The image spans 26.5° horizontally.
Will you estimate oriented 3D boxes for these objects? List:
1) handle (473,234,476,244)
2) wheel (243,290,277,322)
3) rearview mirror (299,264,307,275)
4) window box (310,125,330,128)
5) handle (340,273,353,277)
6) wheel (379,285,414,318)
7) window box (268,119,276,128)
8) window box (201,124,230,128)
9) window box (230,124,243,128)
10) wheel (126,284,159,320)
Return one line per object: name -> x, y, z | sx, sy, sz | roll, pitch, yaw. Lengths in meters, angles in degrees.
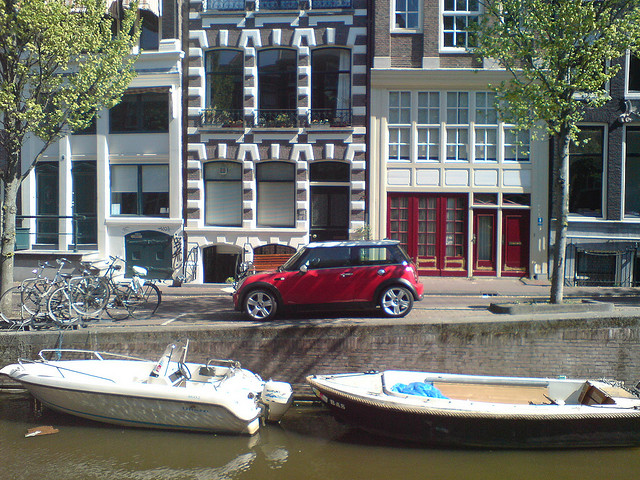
handle -> 4.902, 0.016, 43.554 | 0.093, 0.299, 0.033 | 5, -3, -33
wheel -> -1.574, 1.790, 37.003 | 0.977, 0.934, 0.364 | 4, 8, 26
rearview mirror -> -0.450, 0.843, 36.790 | 0.209, 0.214, 0.154 | 7, 7, -4
window box -> -0.005, -3.574, 43.496 | 0.562, 0.107, 0.153 | 2, -3, 8
handle -> 0.719, 0.978, 36.830 | 0.282, 0.113, 0.051 | 3, -2, -11
wheel -> 2.130, 1.705, 36.947 | 0.970, 0.939, 0.411 | -1, 4, 25
window box -> -1.573, -3.670, 43.771 | 0.348, 0.320, 0.181 | 1, 3, 1
window box -> -3.371, -3.610, 43.713 | 0.798, 0.110, 0.059 | 3, -2, 0
window box -> -2.697, -3.596, 43.704 | 0.401, 0.134, 0.135 | 3, -2, -8
wheel -> -5.016, 1.779, 38.155 | 0.938, 0.898, 0.097 | 7, 5, -38
